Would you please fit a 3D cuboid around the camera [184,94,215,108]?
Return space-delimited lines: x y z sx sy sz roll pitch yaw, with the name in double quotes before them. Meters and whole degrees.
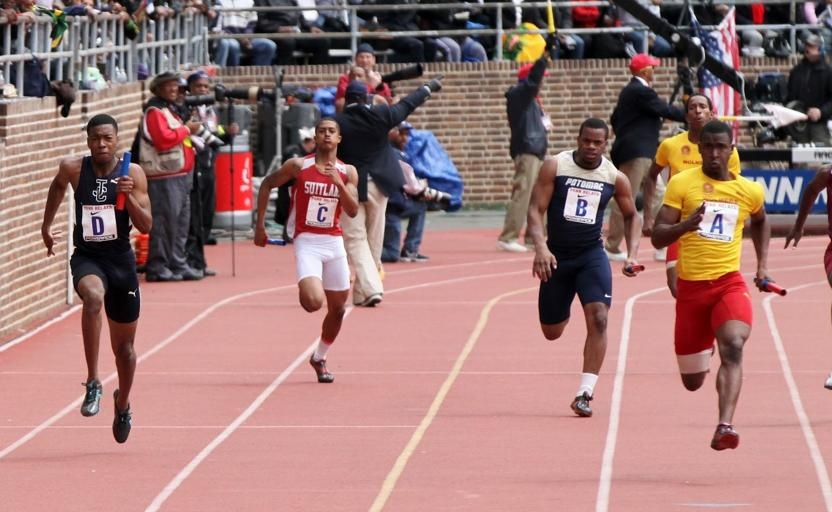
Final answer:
"camera" -3.256 -2.305 15.236 0.449 0.173 0.171 -1 -30 -1

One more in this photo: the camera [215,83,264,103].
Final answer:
"camera" -3.134 -2.762 17.407 0.974 0.302 0.351 3 -4 -6

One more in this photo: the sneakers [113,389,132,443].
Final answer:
"sneakers" -2.506 1.364 8.608 0.192 0.453 0.211 -6 9 -17

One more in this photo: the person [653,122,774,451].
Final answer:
"person" 2.441 0.155 8.596 0.892 2.526 1.523 2 12 14

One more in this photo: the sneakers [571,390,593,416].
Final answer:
"sneakers" 1.505 1.349 9.251 0.184 0.277 0.254 1 12 11

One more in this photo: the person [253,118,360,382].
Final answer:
"person" -1.137 0.076 10.758 1.049 2.373 0.946 -3 12 -8

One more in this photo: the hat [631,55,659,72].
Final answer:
"hat" 3.617 -2.983 15.744 0.510 0.223 0.331 -7 16 -16

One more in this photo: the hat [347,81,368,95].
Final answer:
"hat" -0.804 -2.234 13.632 0.257 0.155 0.235 2 0 3

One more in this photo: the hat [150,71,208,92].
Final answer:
"hat" -3.498 -2.467 14.401 0.705 0.214 0.474 -6 3 16

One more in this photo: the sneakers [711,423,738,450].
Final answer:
"sneakers" 2.351 1.384 7.749 0.183 0.203 0.173 2 12 15

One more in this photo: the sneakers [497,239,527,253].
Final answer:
"sneakers" 1.648 -0.163 17.589 0.575 0.207 0.188 3 9 0

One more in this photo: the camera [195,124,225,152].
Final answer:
"camera" -3.239 -1.784 15.490 0.234 0.277 0.856 39 8 0

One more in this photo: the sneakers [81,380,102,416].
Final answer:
"sneakers" -2.816 1.226 8.668 0.154 0.360 0.173 -2 -19 8

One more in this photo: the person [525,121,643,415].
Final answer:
"person" 1.583 0.060 9.731 1.063 2.705 1.439 1 12 10
